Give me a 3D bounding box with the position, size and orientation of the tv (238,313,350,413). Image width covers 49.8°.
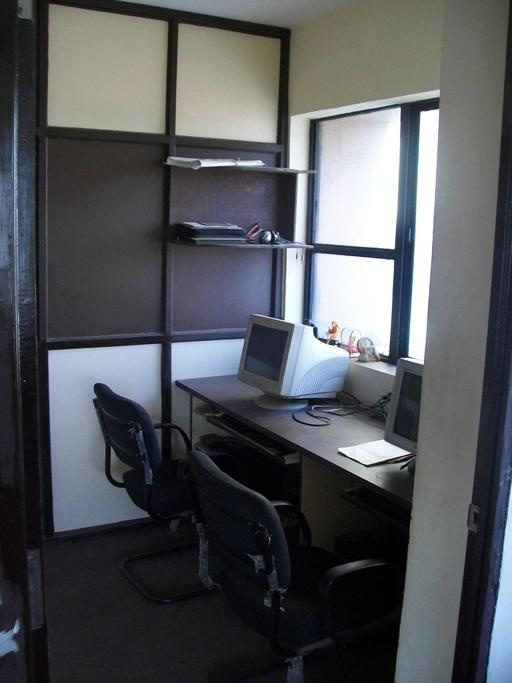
[{"bbox_3d":[0.217,0.020,3.114,0.457,0.541,0.505,-4,9,-27],"label":"tv"}]

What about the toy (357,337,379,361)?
[{"bbox_3d":[0.656,0.055,3.244,0.094,0.187,0.145,-11,-7,38],"label":"toy"}]

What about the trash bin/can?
[{"bbox_3d":[-0.169,0.623,3.119,0.332,0.450,0.234,0,8,-18],"label":"trash bin/can"}]

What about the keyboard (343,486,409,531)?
[{"bbox_3d":[0.499,0.659,2.227,0.191,0.077,0.287,8,9,-37],"label":"keyboard"}]

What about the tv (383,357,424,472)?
[{"bbox_3d":[0.614,0.255,2.230,0.108,0.345,0.209,-2,8,-16],"label":"tv"}]

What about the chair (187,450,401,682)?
[{"bbox_3d":[0.141,0.891,2.026,0.753,0.971,0.549,-1,8,-9],"label":"chair"}]

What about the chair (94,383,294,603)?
[{"bbox_3d":[-0.483,0.594,3.208,0.832,1.628,0.768,-4,13,-29],"label":"chair"}]

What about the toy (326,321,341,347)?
[{"bbox_3d":[0.492,-0.051,3.455,0.090,0.142,0.119,3,3,40],"label":"toy"}]

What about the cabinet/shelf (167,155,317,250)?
[{"bbox_3d":[-0.098,-0.859,3.317,0.865,0.501,0.495,-2,8,-14],"label":"cabinet/shelf"}]
